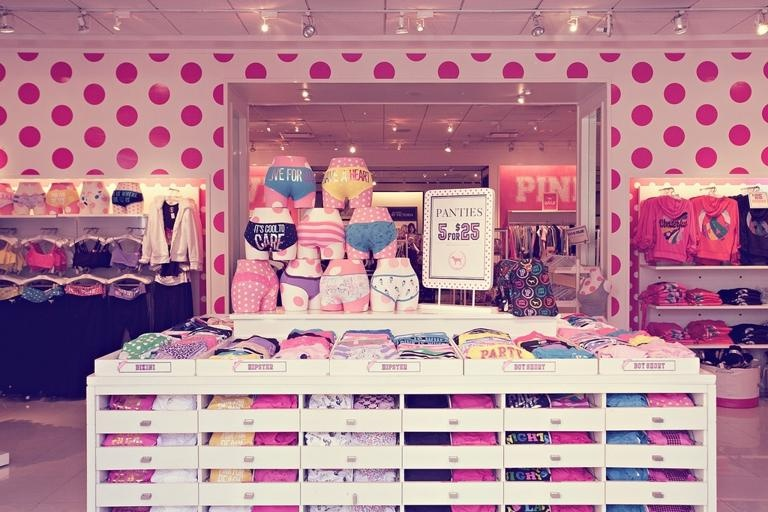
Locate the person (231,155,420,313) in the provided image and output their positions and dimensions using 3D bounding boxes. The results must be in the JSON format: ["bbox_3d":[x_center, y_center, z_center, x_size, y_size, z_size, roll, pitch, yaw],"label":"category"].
[{"bbox_3d":[-0.568,-0.214,5.667,1.671,1.493,0.406,1,-3,0],"label":"person"}]

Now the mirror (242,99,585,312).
[{"bbox_3d":[0.519,-0.792,7.831,3.737,1.898,0.042,0,6,0],"label":"mirror"}]

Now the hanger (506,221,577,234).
[{"bbox_3d":[2.671,-0.478,10.172,0.945,0.165,0.349,0,-2,4],"label":"hanger"}]
